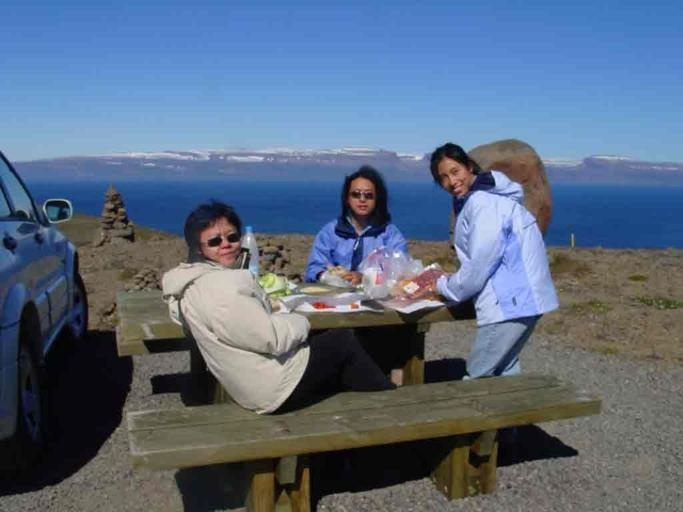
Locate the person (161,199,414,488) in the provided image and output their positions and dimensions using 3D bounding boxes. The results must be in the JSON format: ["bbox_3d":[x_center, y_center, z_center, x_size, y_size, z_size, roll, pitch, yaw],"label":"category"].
[{"bbox_3d":[-0.430,0.432,4.224,1.564,1.844,1.014,-13,-11,-25],"label":"person"}]
